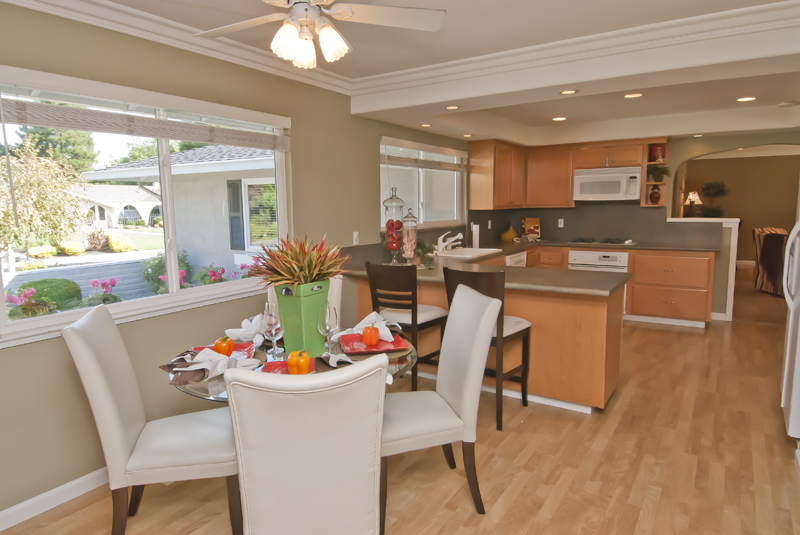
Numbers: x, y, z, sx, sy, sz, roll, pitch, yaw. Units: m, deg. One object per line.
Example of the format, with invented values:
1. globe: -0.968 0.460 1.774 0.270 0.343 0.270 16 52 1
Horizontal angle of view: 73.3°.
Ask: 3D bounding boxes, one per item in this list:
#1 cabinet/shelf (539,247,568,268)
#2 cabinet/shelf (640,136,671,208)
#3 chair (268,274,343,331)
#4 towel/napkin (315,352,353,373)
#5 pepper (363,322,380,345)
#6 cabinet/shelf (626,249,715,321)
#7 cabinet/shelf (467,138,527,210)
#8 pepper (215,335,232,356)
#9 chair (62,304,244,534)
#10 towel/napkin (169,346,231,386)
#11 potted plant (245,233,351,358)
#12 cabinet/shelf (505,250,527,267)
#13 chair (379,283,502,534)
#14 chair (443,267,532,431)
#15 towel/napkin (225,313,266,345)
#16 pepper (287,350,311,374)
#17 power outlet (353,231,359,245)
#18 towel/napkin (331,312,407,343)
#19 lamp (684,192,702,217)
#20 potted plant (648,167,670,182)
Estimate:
1. cabinet/shelf: 2.039 -0.130 7.199 0.374 0.344 0.254 1 2 30
2. cabinet/shelf: 3.271 -1.207 6.916 0.347 0.823 0.278 2 6 13
3. chair: -0.599 0.213 3.284 0.300 0.436 0.361 5 9 36
4. towel/napkin: -0.418 0.553 3.202 0.114 0.044 0.145 -4 4 -35
5. pepper: -0.181 0.430 3.381 0.107 0.142 0.105 0 -2 -6
6. cabinet/shelf: 3.373 0.152 6.733 0.957 0.908 0.635 5 23 31
7. cabinet/shelf: 1.326 -1.206 7.351 0.401 0.891 1.126 4 6 32
8. pepper: -1.074 0.478 3.328 0.102 0.121 0.101 -1 -2 -7
9. chair: -1.374 0.884 3.181 0.901 1.262 0.492 -1 11 -3
10. towel/napkin: -1.142 0.564 3.148 0.197 0.109 0.260 6 4 39
11. potted plant: -0.573 0.112 3.583 0.674 0.781 0.737 7 9 43
12. cabinet/shelf: 1.432 -0.106 6.608 0.379 0.249 0.084 -3 20 -43
13. chair: 0.202 0.855 3.424 0.783 1.391 0.527 -4 11 -16
14. chair: 0.777 0.406 4.156 0.493 1.131 0.562 9 -33 -21
15. towel/napkin: -1.001 0.409 3.507 0.219 0.094 0.223 7 14 40
16. pepper: -0.566 0.525 3.023 0.122 0.146 0.120 0 -1 -18
17. power outlet: -0.446 -0.300 5.400 0.023 0.135 0.102 5 12 27
18. towel/napkin: -0.200 0.421 3.813 0.279 0.113 0.304 -7 4 -4
19. lamp: 5.708 -1.246 10.497 0.300 0.475 0.463 7 12 32
20. potted plant: 3.289 -1.210 6.878 0.205 0.194 0.201 -25 28 -37
